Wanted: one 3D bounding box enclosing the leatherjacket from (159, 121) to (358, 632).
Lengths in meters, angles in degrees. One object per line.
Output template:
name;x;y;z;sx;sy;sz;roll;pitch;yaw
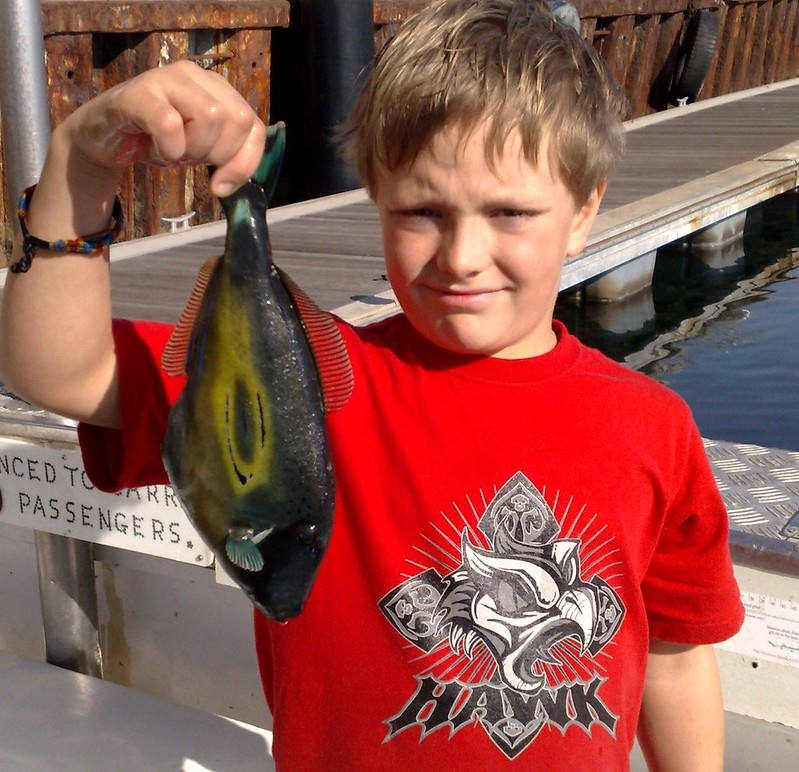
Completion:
leatherjacket;-0.189;-0.024;1.453;0.260;0.609;0.277;-3;21;-10

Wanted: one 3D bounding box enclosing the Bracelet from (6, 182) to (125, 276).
Bracelet;-0.473;-0.223;1.547;0.155;0.116;0.093;-3;21;-11
